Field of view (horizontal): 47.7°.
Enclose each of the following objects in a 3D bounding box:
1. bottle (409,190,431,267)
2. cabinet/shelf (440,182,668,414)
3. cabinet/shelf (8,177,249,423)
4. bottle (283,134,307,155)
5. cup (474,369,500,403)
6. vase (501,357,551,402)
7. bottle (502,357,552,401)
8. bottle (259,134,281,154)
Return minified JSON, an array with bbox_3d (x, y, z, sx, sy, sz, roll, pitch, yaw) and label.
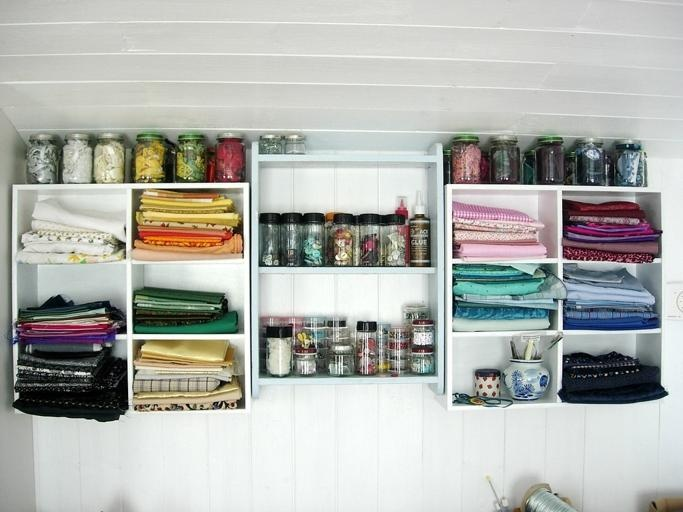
[{"bbox_3d":[0.337,-0.115,3.311,0.088,0.324,0.070,2,-7,-34],"label":"bottle"},{"bbox_3d":[0.893,0.157,3.305,1.136,0.941,0.329,1,-2,-4],"label":"cabinet/shelf"},{"bbox_3d":[-0.911,0.171,3.213,1.209,0.999,0.342,0,0,-1],"label":"cabinet/shelf"},{"bbox_3d":[-0.195,-0.466,3.253,0.093,0.070,0.089,0,4,0],"label":"bottle"},{"bbox_3d":[0.637,0.569,3.425,0.119,0.116,0.112,7,-15,2],"label":"cup"},{"bbox_3d":[0.786,0.543,3.356,0.218,0.158,0.195,-1,-7,-35],"label":"vase"},{"bbox_3d":[0.804,0.548,3.368,0.205,0.167,0.215,1,-12,0],"label":"bottle"},{"bbox_3d":[-0.298,-0.464,3.236,0.093,0.068,0.089,1,2,0],"label":"bottle"}]
